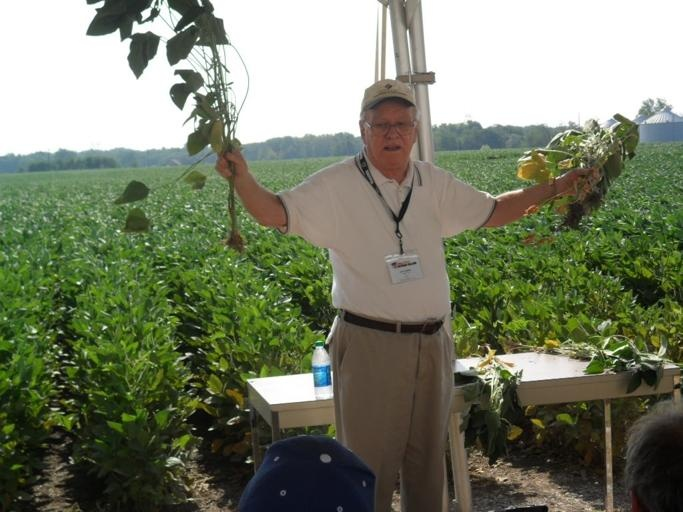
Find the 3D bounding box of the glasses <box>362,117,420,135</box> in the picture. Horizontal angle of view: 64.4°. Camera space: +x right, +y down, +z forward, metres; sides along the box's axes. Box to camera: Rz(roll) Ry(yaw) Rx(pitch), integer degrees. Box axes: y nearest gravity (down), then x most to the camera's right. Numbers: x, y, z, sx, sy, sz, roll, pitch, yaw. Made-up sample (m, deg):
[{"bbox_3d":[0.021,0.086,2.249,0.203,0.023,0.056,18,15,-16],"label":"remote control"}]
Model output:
[{"bbox_3d":[0.270,-0.713,3.025,0.294,0.085,0.102,-2,7,6],"label":"glasses"}]
